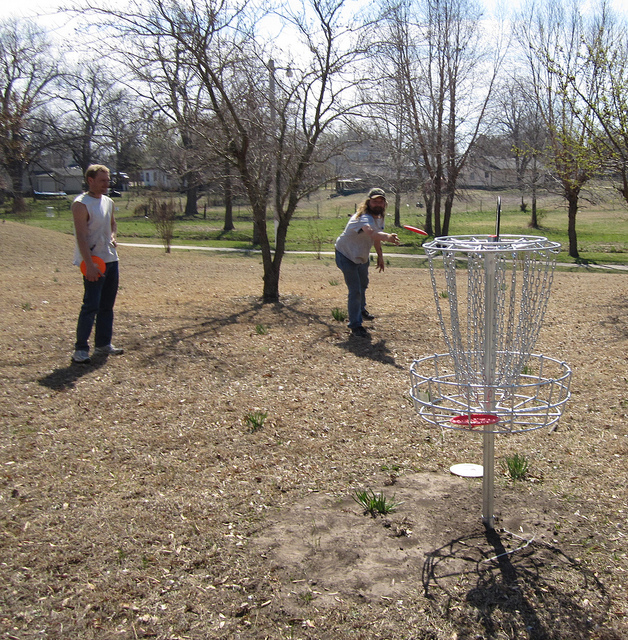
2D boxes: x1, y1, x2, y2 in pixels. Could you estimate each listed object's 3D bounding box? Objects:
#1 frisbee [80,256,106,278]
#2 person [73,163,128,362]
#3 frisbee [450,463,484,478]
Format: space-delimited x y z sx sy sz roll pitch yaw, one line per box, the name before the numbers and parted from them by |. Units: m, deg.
frisbee | -2.033 -0.493 6.725 0.237 0.190 0.051 25 4 9
person | -2.126 -0.548 6.978 0.502 1.887 0.842 -5 12 -14
frisbee | 1.066 1.041 5.074 0.223 0.022 0.272 2 9 17
